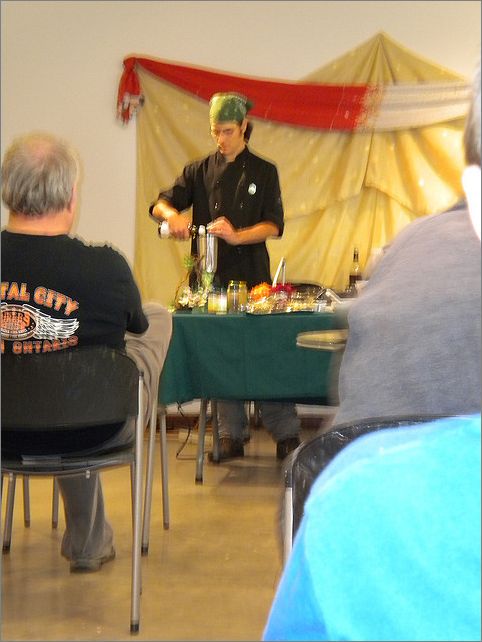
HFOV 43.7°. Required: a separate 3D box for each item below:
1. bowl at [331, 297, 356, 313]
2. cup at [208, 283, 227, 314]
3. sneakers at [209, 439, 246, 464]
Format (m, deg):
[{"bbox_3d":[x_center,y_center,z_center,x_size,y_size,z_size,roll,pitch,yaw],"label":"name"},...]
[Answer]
[{"bbox_3d":[0.259,-0.042,1.548,0.081,0.028,0.087,-4,6,0],"label":"bowl"},{"bbox_3d":[-0.086,-0.085,2.210,0.079,0.136,0.077,0,-1,0],"label":"cup"},{"bbox_3d":[-0.069,0.707,3.243,0.100,0.115,0.173,-5,-14,32],"label":"sneakers"}]
